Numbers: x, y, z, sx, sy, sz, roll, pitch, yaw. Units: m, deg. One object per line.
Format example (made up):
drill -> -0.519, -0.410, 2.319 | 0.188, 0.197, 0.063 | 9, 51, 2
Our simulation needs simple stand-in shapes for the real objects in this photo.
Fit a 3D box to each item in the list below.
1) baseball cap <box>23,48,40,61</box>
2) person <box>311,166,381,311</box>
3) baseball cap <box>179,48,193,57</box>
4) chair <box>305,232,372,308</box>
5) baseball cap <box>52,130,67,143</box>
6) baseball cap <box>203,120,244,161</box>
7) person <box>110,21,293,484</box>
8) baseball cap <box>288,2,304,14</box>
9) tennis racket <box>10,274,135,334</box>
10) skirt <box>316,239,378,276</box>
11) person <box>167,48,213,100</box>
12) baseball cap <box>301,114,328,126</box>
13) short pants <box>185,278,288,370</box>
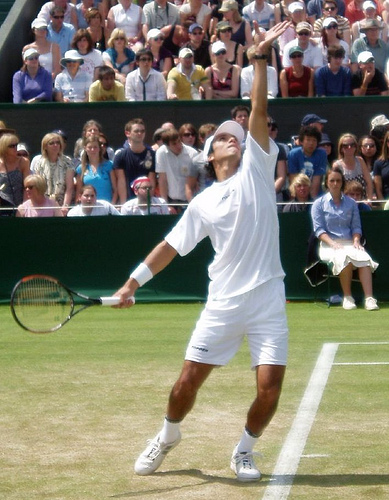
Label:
baseball cap -> -2.203, -2.647, 12.995 | 0.190, 0.157, 0.302 | 0, 9, -9
person -> 1.580, -0.118, 10.000 | 0.478, 1.458, 0.650 | -5, 12, -36
baseball cap -> -0.118, -2.593, 12.596 | 0.218, 0.109, 0.336 | -8, 6, -5
chair -> 1.470, 0.152, 10.339 | 0.590, 0.759, 0.505 | -3, 4, -18
baseball cap -> -1.654, -1.432, 11.866 | 0.121, 0.068, 0.176 | 36, -5, 24
baseball cap -> 0.154, -0.628, 5.286 | 0.151, 0.256, 0.066 | 10, 41, -23
person -> 0.097, -0.027, 5.122 | 0.778, 2.292, 0.890 | 1, 9, 0
baseball cap -> 1.445, -3.487, 13.798 | 0.217, 0.162, 0.306 | 2, 9, 3
tennis racket -> -0.678, 0.306, 5.793 | 0.911, 0.365, 0.070 | -2, -20, -37
skirt -> 1.549, 0.059, 10.126 | 0.614, 0.350, 0.419 | 2, 13, -1
person -> -0.110, -2.391, 12.939 | 0.658, 0.994, 0.691 | -3, 13, -9
baseball cap -> 1.460, -1.593, 11.670 | 0.242, 0.104, 0.155 | -6, 7, -3
short pants -> 0.247, 0.356, 5.017 | 0.562, 0.532, 0.250 | 5, 18, 0
